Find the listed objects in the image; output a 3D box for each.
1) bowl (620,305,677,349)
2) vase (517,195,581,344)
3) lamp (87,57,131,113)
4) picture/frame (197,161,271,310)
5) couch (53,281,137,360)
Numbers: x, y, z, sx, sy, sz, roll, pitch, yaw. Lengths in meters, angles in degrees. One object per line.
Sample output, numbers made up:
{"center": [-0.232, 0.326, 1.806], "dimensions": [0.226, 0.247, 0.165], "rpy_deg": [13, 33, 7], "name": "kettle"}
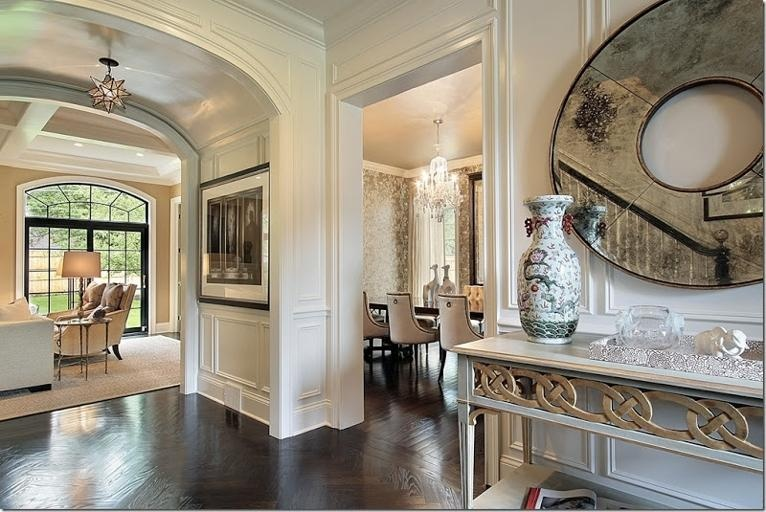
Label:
{"center": [1.548, 0.387, 2.876], "dimensions": [0.260, 0.208, 0.258], "rpy_deg": [-2, 0, 0], "name": "bowl"}
{"center": [1.040, 0.083, 3.121], "dimensions": [0.366, 0.909, 0.195], "rpy_deg": [2, 7, 15], "name": "vase"}
{"center": [-2.641, -1.661, 4.785], "dimensions": [0.367, 0.441, 0.370], "rpy_deg": [14, 12, 39], "name": "lamp"}
{"center": [-1.620, -0.200, 5.348], "dimensions": [0.363, 1.500, 1.416], "rpy_deg": [-6, 9, -38], "name": "picture/frame"}
{"center": [-4.146, 0.937, 7.407], "dimensions": [1.283, 1.220, 0.924], "rpy_deg": [2, -4, -41], "name": "couch"}
